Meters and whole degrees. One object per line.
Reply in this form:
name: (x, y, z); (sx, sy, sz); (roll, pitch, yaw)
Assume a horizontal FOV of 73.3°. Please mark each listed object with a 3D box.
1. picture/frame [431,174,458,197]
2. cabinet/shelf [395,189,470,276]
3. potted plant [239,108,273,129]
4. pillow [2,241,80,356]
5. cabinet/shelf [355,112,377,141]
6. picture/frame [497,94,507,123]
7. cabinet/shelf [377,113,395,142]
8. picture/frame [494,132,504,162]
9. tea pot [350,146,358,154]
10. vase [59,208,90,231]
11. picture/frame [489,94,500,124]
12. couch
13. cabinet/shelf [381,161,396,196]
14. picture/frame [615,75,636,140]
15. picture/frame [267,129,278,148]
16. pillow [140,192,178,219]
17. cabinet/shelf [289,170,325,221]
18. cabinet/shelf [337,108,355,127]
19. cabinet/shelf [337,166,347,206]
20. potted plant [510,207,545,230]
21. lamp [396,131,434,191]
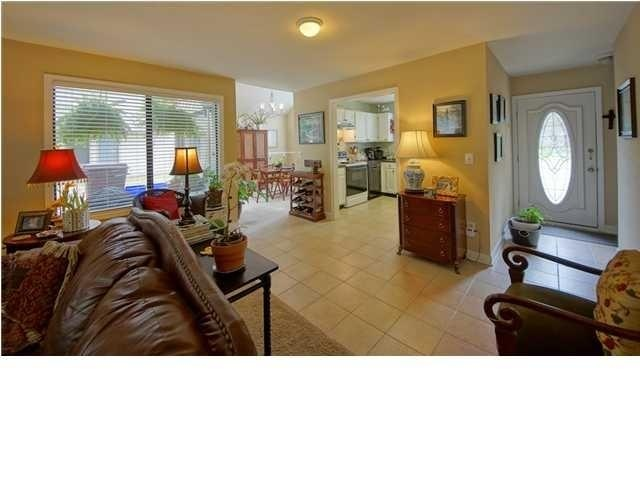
picture/frame: (1.396, -0.603, 4.774); (0.245, 0.250, 0.090); (5, 6, 40)
cabinet/shelf: (1.216, -0.133, 4.784); (0.743, 0.799, 0.431); (6, 14, 25)
potted plant: (-1.587, -2.900, 10.336); (0.579, 0.360, 0.590); (-4, 13, -17)
pillow: (-1.832, 0.416, 3.005); (0.528, 0.677, 0.170); (-5, -17, 13)
cabinet/shelf: (0.930, -2.203, 8.383); (0.177, 0.550, 0.811); (5, 15, 25)
picture/frame: (2.123, -1.543, 5.033); (0.040, 0.366, 0.410); (1, 11, 30)
cabinet/shelf: (1.292, -2.254, 8.564); (0.311, 0.554, 0.212); (2, 13, 12)
picture/frame: (2.027, -1.064, 4.884); (0.035, 0.270, 0.361); (1, 8, 31)
tea pot: (0.668, -1.732, 8.321); (0.057, 0.121, 0.195); (10, 18, 41)
vase: (-2.241, -0.194, 3.963); (0.188, 0.222, 0.206); (0, 2, -4)
picture/frame: (1.912, -1.443, 4.719); (0.032, 0.326, 0.334); (3, 14, 34)
couch: (-1.106, 0.358, 2.530); (1.497, 0.821, 0.722); (13, 19, 41)
cabinet/shelf: (1.392, -1.250, 8.647); (0.138, 0.677, 0.380); (-12, 17, -43)
picture/frame: (2.769, -1.207, 3.890); (0.068, 0.617, 0.631); (1, 8, 31)
picture/frame: (-1.205, -2.612, 11.050); (0.052, 0.462, 0.372); (6, 15, 30)
pillow: (-1.632, -0.351, 4.347); (0.096, 0.296, 0.259); (-13, 3, 39)
cabinet/shelf: (-0.185, -0.712, 6.894); (0.268, 0.686, 0.680); (-10, 16, -39)
cabinet/shelf: (0.510, -2.215, 7.796); (0.131, 0.309, 0.558); (7, 16, 32)
cabinet/shelf: (0.380, -0.939, 7.586); (0.096, 0.735, 0.248); (6, 14, 30)
potted plant: (2.498, -0.245, 5.224); (0.345, 0.254, 0.327); (-9, 10, -21)
lamp: (1.096, -0.917, 4.966); (0.470, 0.686, 0.422); (11, 17, 42)
